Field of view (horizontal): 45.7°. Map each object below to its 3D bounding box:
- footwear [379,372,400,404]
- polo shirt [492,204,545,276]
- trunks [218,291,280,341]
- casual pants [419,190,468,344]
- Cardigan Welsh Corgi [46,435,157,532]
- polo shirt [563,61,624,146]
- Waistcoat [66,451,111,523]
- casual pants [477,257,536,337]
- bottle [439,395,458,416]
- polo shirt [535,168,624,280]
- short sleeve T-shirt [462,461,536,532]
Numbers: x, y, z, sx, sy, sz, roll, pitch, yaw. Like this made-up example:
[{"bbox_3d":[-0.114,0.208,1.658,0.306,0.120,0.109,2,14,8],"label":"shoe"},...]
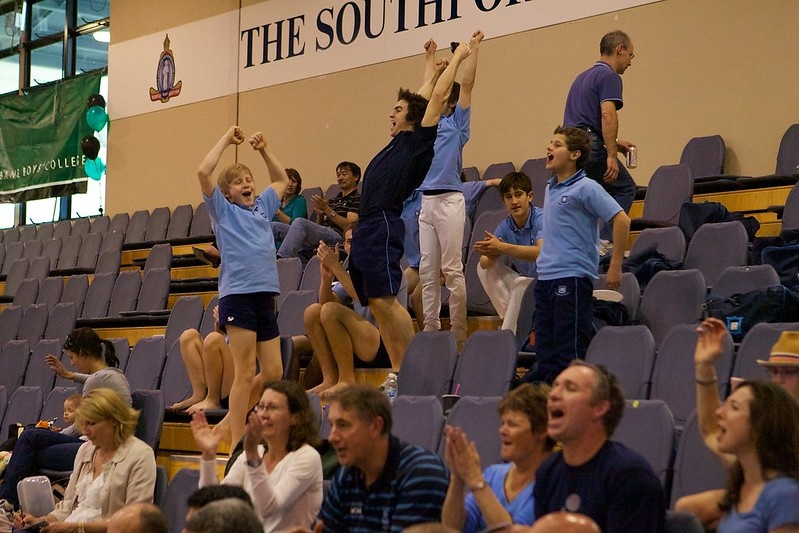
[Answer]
[{"bbox_3d":[-0.070,0.855,6.736,0.118,0.193,0.160,0,21,18],"label":"footwear"},{"bbox_3d":[0.916,-0.113,6.997,0.364,0.555,0.287,-4,-18,2],"label":"polo shirt"},{"bbox_3d":[-0.994,0.337,6.625,0.320,0.376,0.223,4,8,10],"label":"trunks"},{"bbox_3d":[0.302,-0.002,7.011,0.301,1.161,0.266,3,15,17],"label":"casual pants"},{"bbox_3d":[-1.988,1.472,6.261,0.551,0.725,0.366,6,-17,11],"label":"Cardigan Welsh Corgi"},{"bbox_3d":[1.542,-1.282,7.559,0.321,0.659,0.603,15,-8,-27],"label":"polo shirt"},{"bbox_3d":[-2.146,1.448,6.261,0.199,0.472,0.324,11,3,11],"label":"Waistcoat"},{"bbox_3d":[0.798,0.234,6.935,0.272,0.687,0.412,2,-46,-6],"label":"casual pants"},{"bbox_3d":[0.332,0.932,6.318,0.096,0.141,0.114,0,-3,21],"label":"bottle"},{"bbox_3d":[1.086,-0.271,6.212,0.299,0.755,0.681,7,-6,-37],"label":"polo shirt"},{"bbox_3d":[0.534,1.250,5.104,0.374,0.367,0.292,0,-12,4],"label":"short sleeve T-shirt"}]
